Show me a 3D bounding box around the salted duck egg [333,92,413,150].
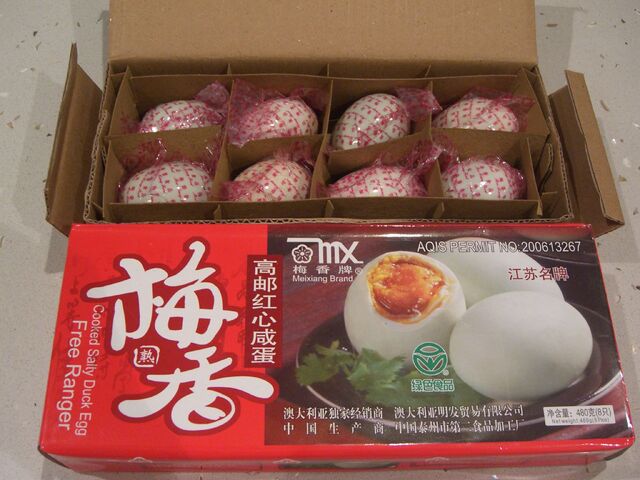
[{"bbox_3d":[0.135,-0.315,1.461,0.163,0.101,0.138,-17,110,-15],"label":"salted duck egg"}]

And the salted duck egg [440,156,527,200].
[{"bbox_3d":[0.392,-0.142,1.369,0.168,0.111,0.119,6,97,4],"label":"salted duck egg"}]

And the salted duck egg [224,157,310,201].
[{"bbox_3d":[-0.121,-0.132,1.337,0.149,0.106,0.101,-19,88,-12],"label":"salted duck egg"}]

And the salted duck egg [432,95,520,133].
[{"bbox_3d":[0.403,-0.314,1.437,0.156,0.109,0.107,2,76,11],"label":"salted duck egg"}]

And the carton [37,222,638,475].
[{"bbox_3d":[0.012,0.355,1.733,1.084,0.269,0.560,0,74,0],"label":"carton"}]
